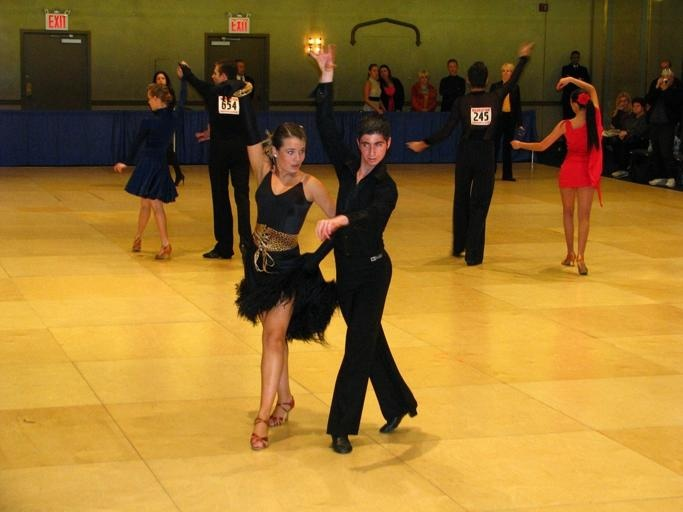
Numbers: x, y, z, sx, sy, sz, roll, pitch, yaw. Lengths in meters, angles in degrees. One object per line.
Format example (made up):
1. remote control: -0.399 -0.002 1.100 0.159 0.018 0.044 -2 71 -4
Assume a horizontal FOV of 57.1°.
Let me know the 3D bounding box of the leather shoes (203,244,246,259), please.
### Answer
1. leather shoes: -1.547 -0.057 8.227 0.569 0.232 0.189 1 3 -5

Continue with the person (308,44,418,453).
1. person: 0.144 0.001 3.617 0.611 2.372 1.024 0 13 -3

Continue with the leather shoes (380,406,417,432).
1. leather shoes: 0.359 1.037 3.997 0.203 0.066 0.087 -36 2 7

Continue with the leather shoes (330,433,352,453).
1. leather shoes: 0.002 1.094 3.673 0.071 0.143 0.151 0 -3 -15

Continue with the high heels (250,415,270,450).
1. high heels: -0.496 1.095 3.840 0.117 0.103 0.358 5 -7 -6

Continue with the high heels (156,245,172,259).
1. high heels: -2.458 -0.071 8.655 0.214 0.193 0.228 -4 14 -20

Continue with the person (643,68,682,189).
1. person: 7.801 -3.092 15.135 0.707 2.770 1.070 2 13 5

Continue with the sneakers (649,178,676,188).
1. sneakers: 7.791 -1.778 15.229 0.546 0.191 0.203 10 12 37
